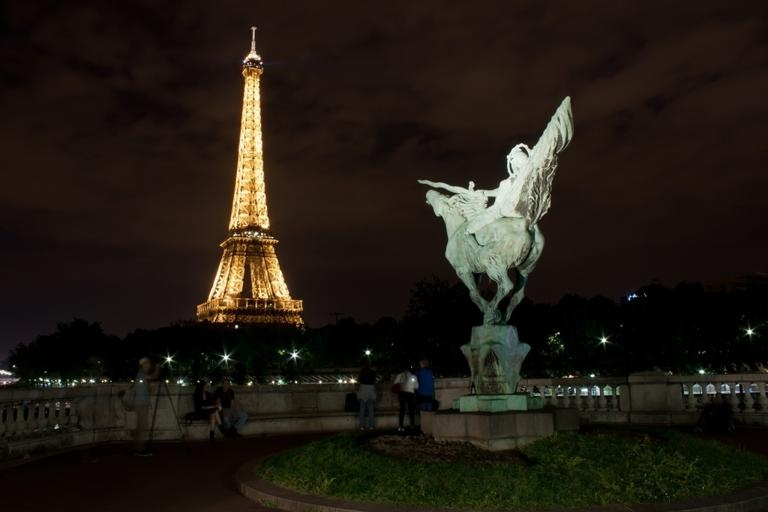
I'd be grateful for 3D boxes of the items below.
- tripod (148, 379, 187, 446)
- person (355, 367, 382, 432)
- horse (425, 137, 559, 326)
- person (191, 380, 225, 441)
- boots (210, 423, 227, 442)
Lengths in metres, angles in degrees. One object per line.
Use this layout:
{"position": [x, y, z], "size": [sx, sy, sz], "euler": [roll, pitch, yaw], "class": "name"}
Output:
{"position": [-6.702, 4.770, 21.266], "size": [0.992, 1.912, 1.664], "euler": [2, -15, -18], "class": "tripod"}
{"position": [-0.598, 4.643, 23.000], "size": [0.583, 2.131, 1.510], "euler": [-2, -14, -2], "class": "person"}
{"position": [2.842, -0.589, 18.410], "size": [2.587, 4.812, 1.288], "euler": [-5, -14, 9], "class": "horse"}
{"position": [-5.662, 4.919, 22.084], "size": [0.904, 1.839, 0.846], "euler": [3, -15, -23], "class": "person"}
{"position": [-5.327, 5.664, 22.032], "size": [0.299, 0.592, 0.572], "euler": [-2, 21, -10], "class": "boots"}
